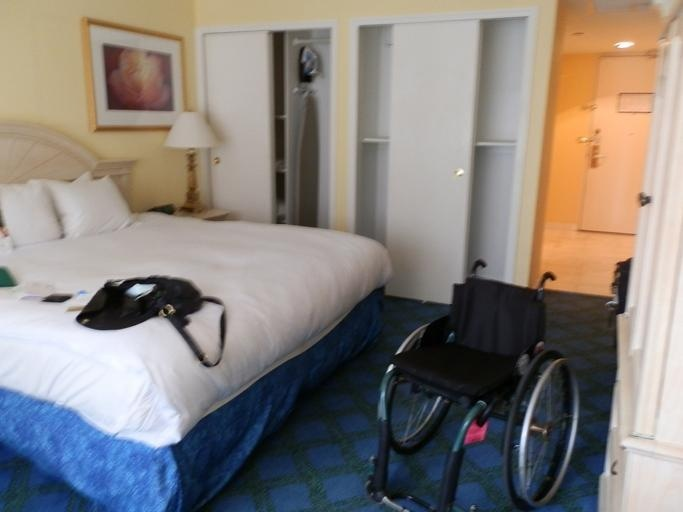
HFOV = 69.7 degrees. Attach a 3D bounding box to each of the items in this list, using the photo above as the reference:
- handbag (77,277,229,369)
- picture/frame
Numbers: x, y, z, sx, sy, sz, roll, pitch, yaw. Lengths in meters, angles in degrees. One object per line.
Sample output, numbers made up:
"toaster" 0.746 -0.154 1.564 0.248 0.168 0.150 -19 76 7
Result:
"handbag" -0.806 0.295 2.192 0.609 0.259 0.374 2 17 5
"picture/frame" -1.763 -1.522 4.129 0.090 0.819 1.169 6 11 25
